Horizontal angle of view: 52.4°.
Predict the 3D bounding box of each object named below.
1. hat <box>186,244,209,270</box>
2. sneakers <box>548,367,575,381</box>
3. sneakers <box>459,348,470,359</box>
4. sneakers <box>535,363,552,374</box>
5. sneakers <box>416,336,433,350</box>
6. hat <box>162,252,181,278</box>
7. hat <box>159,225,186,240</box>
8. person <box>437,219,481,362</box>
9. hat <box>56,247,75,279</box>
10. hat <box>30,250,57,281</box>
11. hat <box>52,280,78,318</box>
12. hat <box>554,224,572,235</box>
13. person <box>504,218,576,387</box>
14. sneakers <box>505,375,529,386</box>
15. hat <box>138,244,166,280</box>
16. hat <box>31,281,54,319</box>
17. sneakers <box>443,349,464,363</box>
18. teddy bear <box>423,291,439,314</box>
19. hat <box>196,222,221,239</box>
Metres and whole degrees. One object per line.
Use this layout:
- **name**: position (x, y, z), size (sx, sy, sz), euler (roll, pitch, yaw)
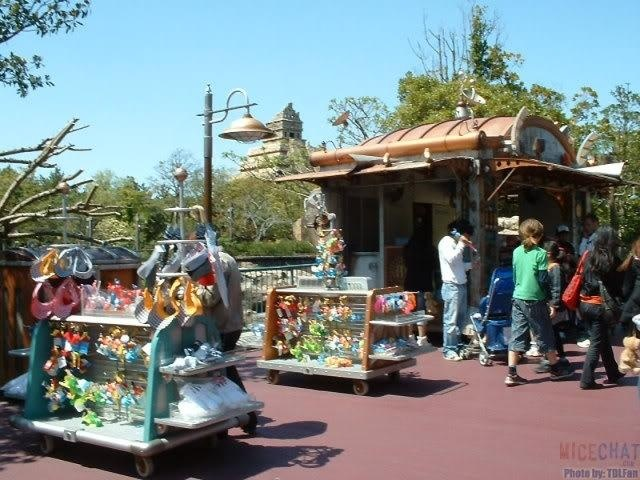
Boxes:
- **hat**: position (-1.344, 0.195, 7.088), size (0.244, 0.095, 0.175), euler (-50, 15, -24)
- **sneakers**: position (3.571, 1.986, 9.697), size (0.419, 0.204, 0.153), euler (-5, 0, -20)
- **sneakers**: position (2.454, 1.952, 11.226), size (0.152, 0.176, 0.173), euler (-2, -3, 13)
- **sneakers**: position (3.452, 2.011, 10.223), size (0.122, 0.110, 0.250), euler (-10, -14, 38)
- **sneakers**: position (1.582, 1.552, 9.874), size (0.100, 0.243, 0.361), euler (2, 5, 42)
- **hat**: position (-1.619, 0.239, 7.096), size (0.225, 0.223, 0.125), euler (-4, 5, -31)
- **hat**: position (-1.684, -0.083, 7.448), size (0.211, 0.122, 0.329), euler (1, -4, -20)
- **person**: position (2.361, 0.846, 11.344), size (0.571, 2.414, 1.431), euler (-1, 4, 13)
- **hat**: position (-2.934, 0.266, 7.539), size (0.119, 0.343, 0.201), euler (-1, 4, 10)
- **hat**: position (-3.137, 0.293, 7.481), size (0.297, 0.373, 0.215), euler (-6, 6, -43)
- **hat**: position (-2.929, 0.676, 7.563), size (0.302, 0.456, 0.160), euler (-4, 4, -24)
- **hat**: position (4.944, -0.249, 13.404), size (0.241, 0.176, 0.333), euler (-5, -13, 6)
- **person**: position (3.100, 0.907, 9.548), size (0.871, 2.402, 0.502), euler (-1, 4, 8)
- **sneakers**: position (2.856, 2.043, 9.554), size (0.338, 0.151, 0.130), euler (1, -1, -27)
- **hat**: position (-1.876, 0.240, 7.224), size (0.296, 0.387, 0.208), euler (-5, 5, -36)
- **hat**: position (-3.222, 0.708, 7.596), size (0.247, 0.471, 0.365), euler (-4, 5, -25)
- **sneakers**: position (2.241, 1.990, 11.234), size (0.146, 0.128, 0.311), euler (1, -6, -31)
- **teddy bear**: position (2.382, 1.345, 13.958), size (0.202, 0.519, 0.670), euler (0, 4, 23)
- **hat**: position (-1.279, -0.099, 7.343), size (0.163, 0.139, 0.211), euler (0, 2, -43)
